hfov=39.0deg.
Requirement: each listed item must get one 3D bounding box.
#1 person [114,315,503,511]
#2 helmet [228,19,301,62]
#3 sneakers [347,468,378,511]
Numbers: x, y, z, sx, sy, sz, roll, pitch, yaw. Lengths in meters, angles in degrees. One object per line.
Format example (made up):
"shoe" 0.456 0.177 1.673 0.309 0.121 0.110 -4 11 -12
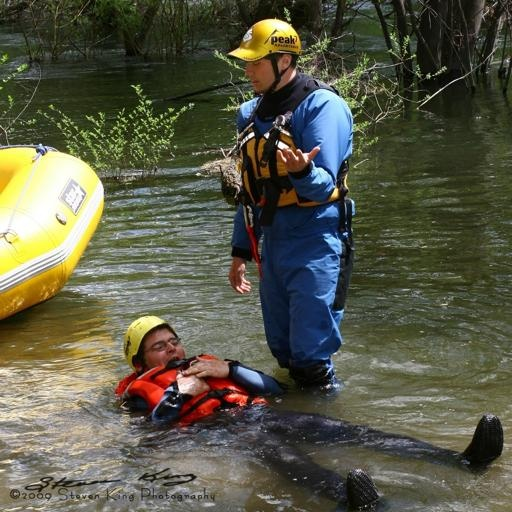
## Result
"person" 0.025 0.714 3.747 1.911 0.327 0.803 7 9 40
"helmet" 0.057 -1.241 4.137 0.416 0.251 0.313 -5 14 -9
"sneakers" 0.435 0.976 3.040 0.135 0.173 0.085 -1 18 11
